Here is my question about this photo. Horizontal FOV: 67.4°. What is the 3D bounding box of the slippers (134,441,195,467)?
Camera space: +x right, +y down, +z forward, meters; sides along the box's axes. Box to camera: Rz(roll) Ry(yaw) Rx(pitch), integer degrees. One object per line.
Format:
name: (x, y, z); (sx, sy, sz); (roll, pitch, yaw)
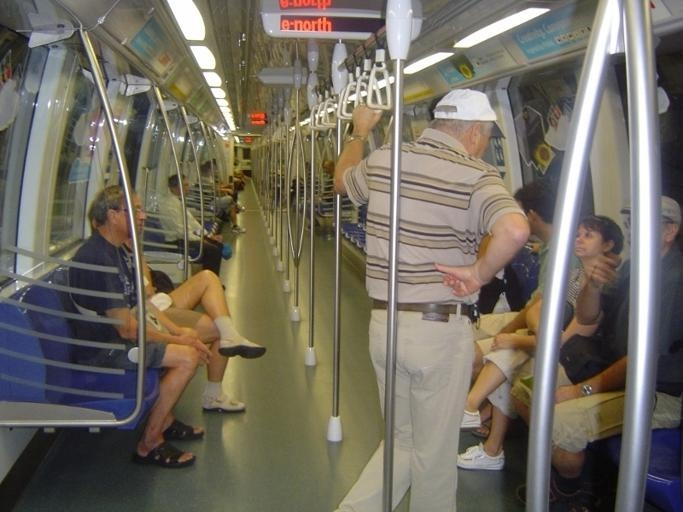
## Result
slippers: (-1.057, 1.208, 3.146); (0.365, 0.159, 0.149); (1, 4, -1)

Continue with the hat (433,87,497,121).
hat: (0.571, -0.643, 2.254); (0.211, 0.090, 0.150); (-11, 24, -39)

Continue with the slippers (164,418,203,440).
slippers: (-1.060, 1.158, 3.443); (0.225, 0.100, 0.122); (-2, 3, -1)

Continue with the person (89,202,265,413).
person: (-1.176, 0.379, 3.786); (1.140, 1.882, 0.701); (-10, 7, -5)

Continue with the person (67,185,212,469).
person: (-1.009, 0.380, 2.703); (0.678, 1.476, 0.585); (-4, -1, -6)

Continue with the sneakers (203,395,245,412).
sneakers: (-0.873, 1.062, 3.788); (0.249, 0.110, 0.138); (1, 0, -7)
